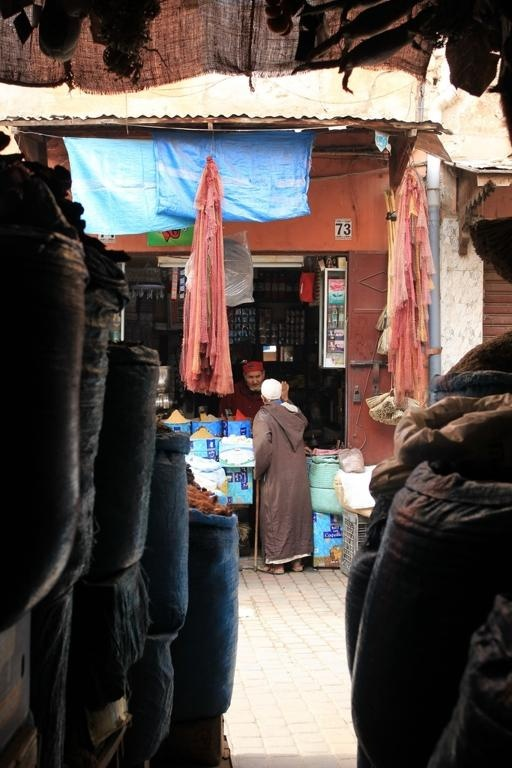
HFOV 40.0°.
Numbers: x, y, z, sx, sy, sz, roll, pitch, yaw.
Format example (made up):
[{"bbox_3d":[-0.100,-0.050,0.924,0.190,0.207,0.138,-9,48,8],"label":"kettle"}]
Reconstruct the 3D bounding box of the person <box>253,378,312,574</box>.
[{"bbox_3d":[0.255,0.923,7.118,0.629,1.919,0.615,1,-1,34],"label":"person"}]

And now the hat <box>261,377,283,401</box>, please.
[{"bbox_3d":[0.152,0.035,7.547,0.160,0.128,0.245,-2,42,-1],"label":"hat"}]

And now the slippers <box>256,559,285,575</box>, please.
[{"bbox_3d":[0.137,1.822,7.076,0.107,0.144,0.316,2,1,-33],"label":"slippers"}]

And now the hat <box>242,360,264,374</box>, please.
[{"bbox_3d":[-0.021,-0.209,8.541,0.185,0.110,0.186,-4,5,-30],"label":"hat"}]
